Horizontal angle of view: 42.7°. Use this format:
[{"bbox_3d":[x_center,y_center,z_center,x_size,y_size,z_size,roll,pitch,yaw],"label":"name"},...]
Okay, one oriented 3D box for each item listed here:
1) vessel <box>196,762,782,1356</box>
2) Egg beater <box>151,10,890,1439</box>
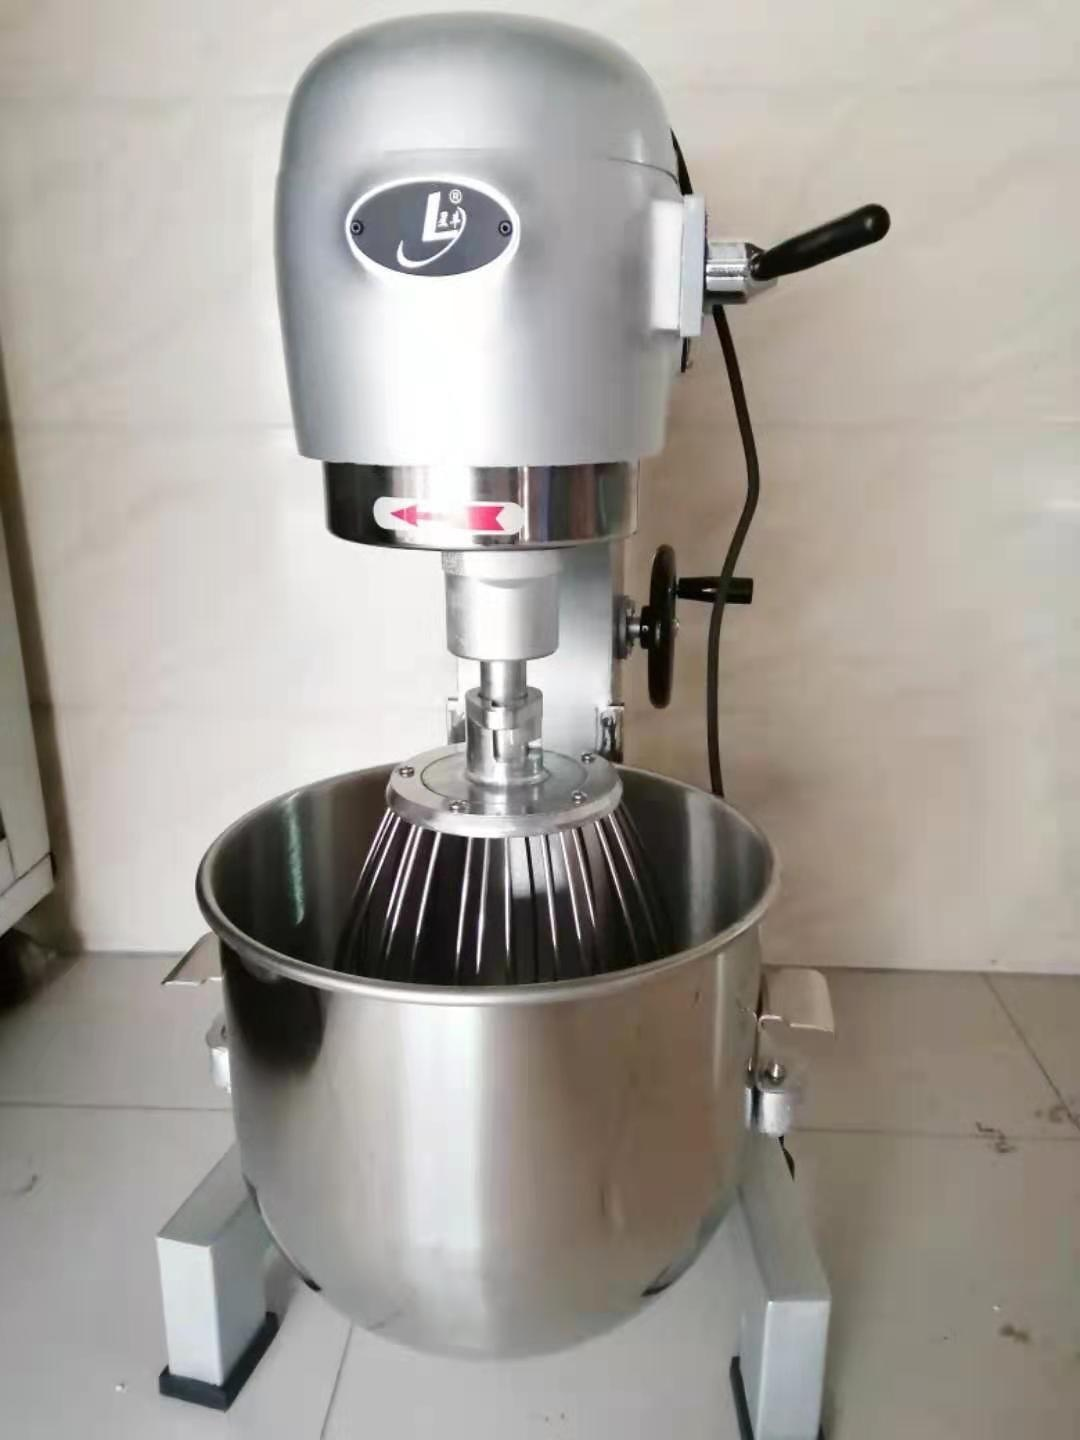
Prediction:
[{"bbox_3d":[-0.032,0.196,0.761,0.301,0.234,0.301,1,13,0],"label":"vessel"},{"bbox_3d":[-0.019,0.040,0.747,0.368,0.738,0.349,-16,20,-39],"label":"Egg beater"}]
